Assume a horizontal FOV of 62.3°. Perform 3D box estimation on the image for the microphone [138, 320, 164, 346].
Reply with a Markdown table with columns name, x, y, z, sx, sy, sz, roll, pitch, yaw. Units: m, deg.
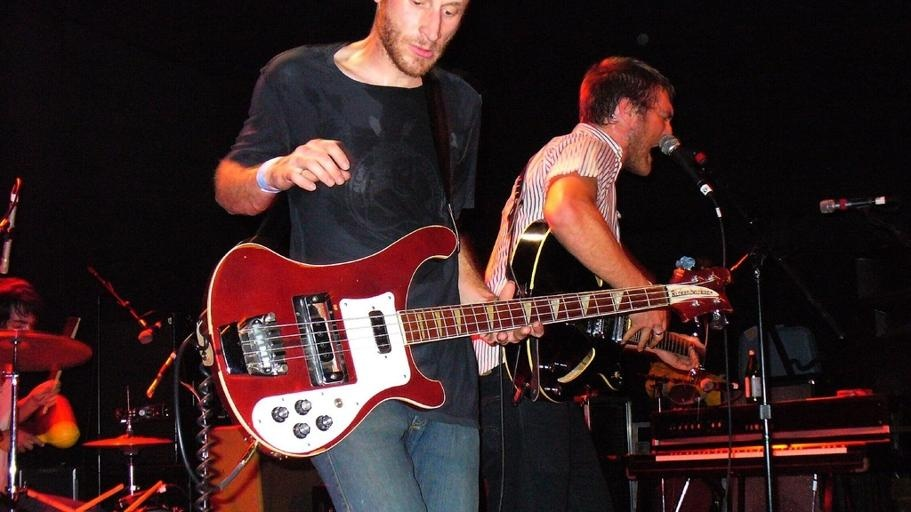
| name | x | y | z | sx | sy | sz | roll | pitch | yaw |
| --- | --- | --- | --- | --- | --- | --- | --- | --- | --- |
| microphone | -3.804 | 0.929 | 9.310 | 0.277 | 0.299 | 0.656 | -3 | -8 | -23 |

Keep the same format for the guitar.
| name | x | y | z | sx | sy | sz | roll | pitch | yaw |
| --- | --- | --- | --- | --- | --- | --- | --- | --- | --- |
| guitar | -0.222 | 0.594 | 5.860 | 3.390 | 1.596 | 0.410 | -4 | -7 | -21 |

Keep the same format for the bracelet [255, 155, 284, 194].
| name | x | y | z | sx | sy | sz | roll | pitch | yaw |
| --- | --- | --- | --- | --- | --- | --- | --- | --- | --- |
| bracelet | -1.409 | -0.604 | 5.611 | 0.188 | 0.259 | 0.065 | 35 | 13 | 17 |
